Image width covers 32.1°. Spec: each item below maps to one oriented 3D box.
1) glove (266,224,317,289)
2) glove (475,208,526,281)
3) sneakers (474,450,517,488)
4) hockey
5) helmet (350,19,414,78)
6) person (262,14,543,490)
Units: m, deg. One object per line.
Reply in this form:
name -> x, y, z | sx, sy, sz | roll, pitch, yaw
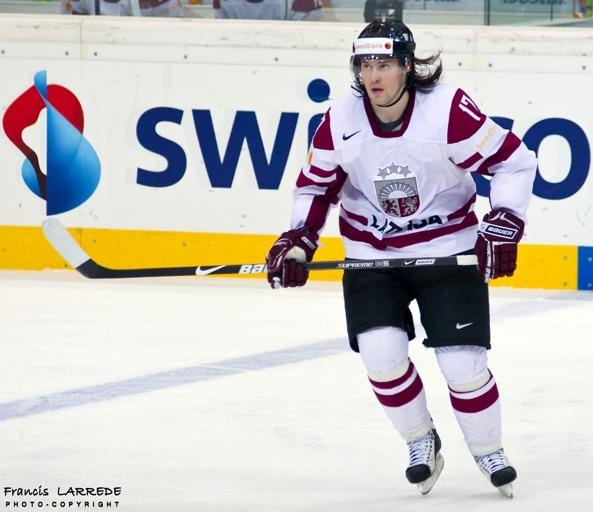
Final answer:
glove -> 0.003, -0.004, 3.669 | 0.093, 0.211, 0.162 | 32, -21, -5
glove -> 0.682, -0.037, 3.451 | 0.154, 0.244, 0.072 | 5, 2, 22
sneakers -> 0.687, 0.711, 3.543 | 0.061, 0.079, 0.198 | -43, 5, 5
hockey -> -0.236, -0.019, 4.453 | 1.870, 0.251, 0.140 | -1, -5, -37
helmet -> 0.302, -0.718, 3.572 | 0.156, 0.162, 0.186 | -3, -7, 30
person -> 0.370, -0.004, 3.576 | 0.855, 1.569, 0.404 | 4, 13, 17
